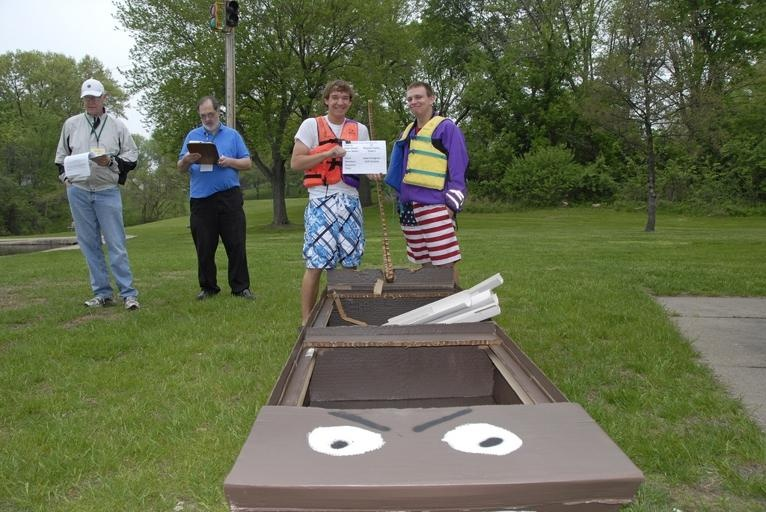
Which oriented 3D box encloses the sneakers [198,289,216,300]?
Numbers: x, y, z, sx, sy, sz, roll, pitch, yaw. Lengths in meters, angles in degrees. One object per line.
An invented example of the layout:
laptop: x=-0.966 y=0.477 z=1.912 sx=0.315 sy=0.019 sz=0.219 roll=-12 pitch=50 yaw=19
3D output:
sneakers: x=-2.524 y=0.567 z=8.155 sx=0.104 sy=0.123 sz=0.300 roll=-1 pitch=-6 yaw=18

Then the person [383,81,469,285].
person: x=0.429 y=-0.820 z=5.894 sx=0.851 sy=1.918 sz=0.433 roll=5 pitch=12 yaw=36

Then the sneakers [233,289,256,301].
sneakers: x=-1.924 y=0.557 z=8.122 sx=0.365 sy=0.146 sz=0.132 roll=-2 pitch=5 yaw=19

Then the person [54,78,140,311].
person: x=-3.643 y=-0.781 z=7.411 sx=0.925 sy=2.994 sz=1.051 roll=-8 pitch=11 yaw=-28

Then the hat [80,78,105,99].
hat: x=-3.594 y=-2.072 z=7.101 sx=0.249 sy=0.190 sz=0.347 roll=-1 pitch=17 yaw=-12

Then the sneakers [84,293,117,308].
sneakers: x=-3.834 y=0.604 z=7.744 sx=0.159 sy=0.172 sz=0.395 roll=5 pitch=-6 yaw=32
